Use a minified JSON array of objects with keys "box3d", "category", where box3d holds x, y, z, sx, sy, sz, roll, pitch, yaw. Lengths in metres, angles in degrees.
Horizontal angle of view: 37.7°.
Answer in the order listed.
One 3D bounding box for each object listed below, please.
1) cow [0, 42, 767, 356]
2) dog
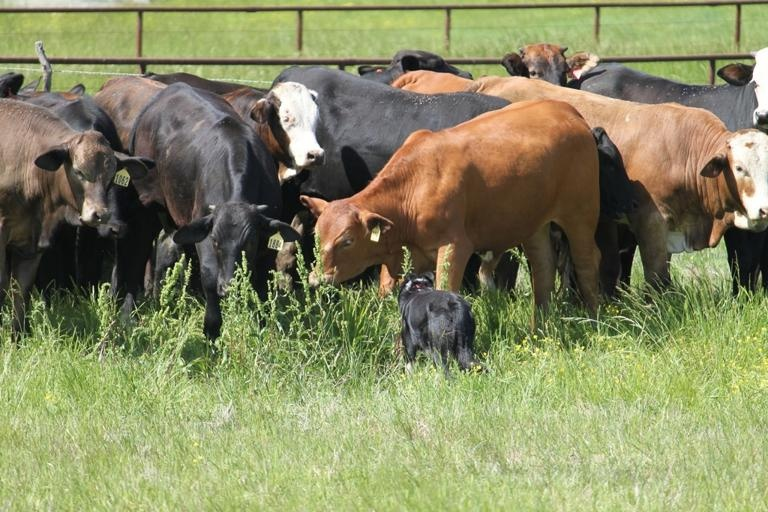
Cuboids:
[{"box3d":[0.294,-1.438,14.685,8.824,2.590,6.906,2,9,15],"category":"cow"},{"box3d":[0.445,0.676,10.017,0.410,0.881,1.534,-4,12,-18],"category":"dog"}]
